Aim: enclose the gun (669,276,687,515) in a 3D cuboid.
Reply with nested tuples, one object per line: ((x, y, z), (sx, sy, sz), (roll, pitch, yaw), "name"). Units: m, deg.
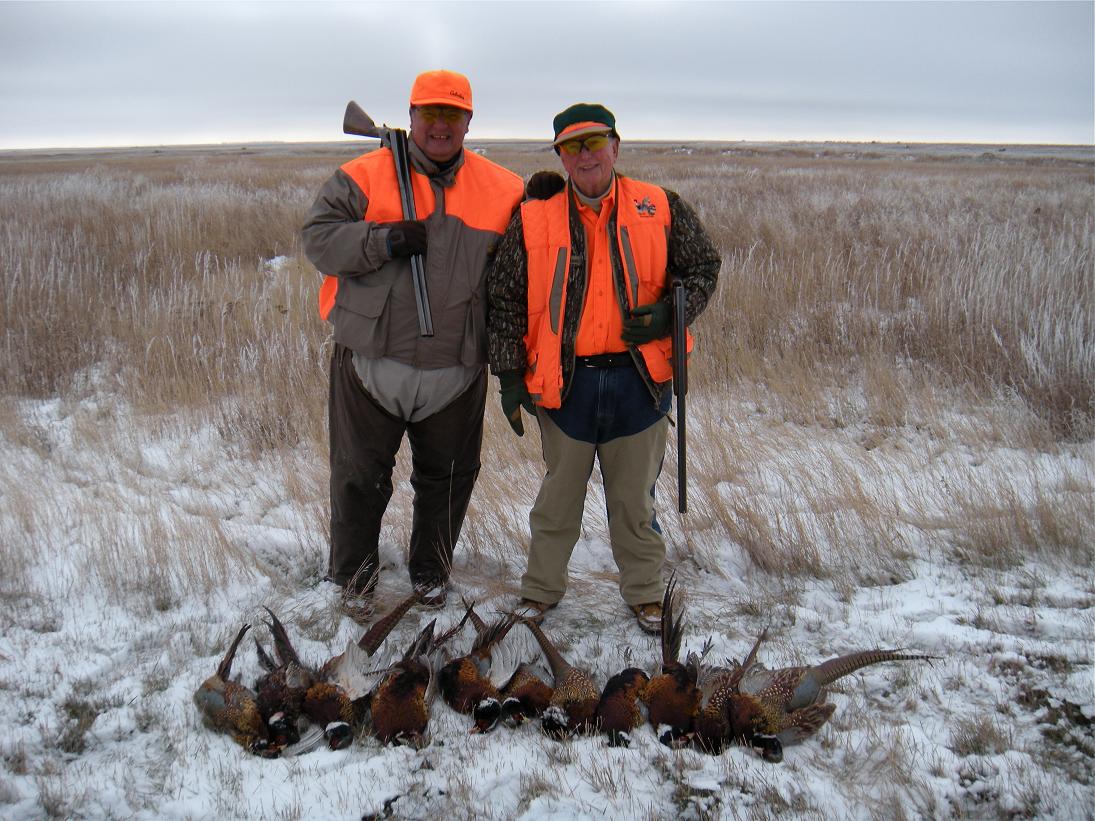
((0.959, -0.168, 8.325), (0.205, 2.153, 0.129), (-1, 5, 1), "gun")
